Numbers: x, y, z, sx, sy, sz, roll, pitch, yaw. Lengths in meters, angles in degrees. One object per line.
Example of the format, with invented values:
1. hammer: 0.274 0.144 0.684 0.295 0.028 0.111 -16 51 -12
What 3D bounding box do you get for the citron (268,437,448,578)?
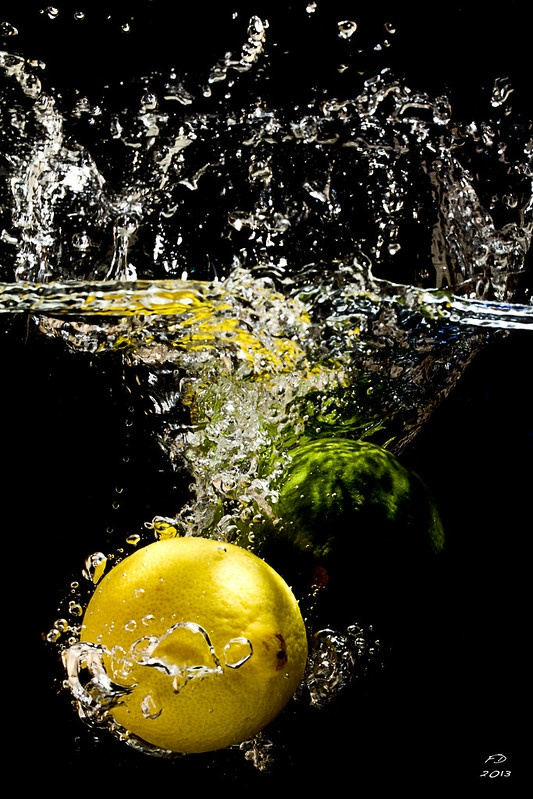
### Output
1. citron: 0.154 0.219 2.095 0.428 0.249 0.334 -7 15 -34
